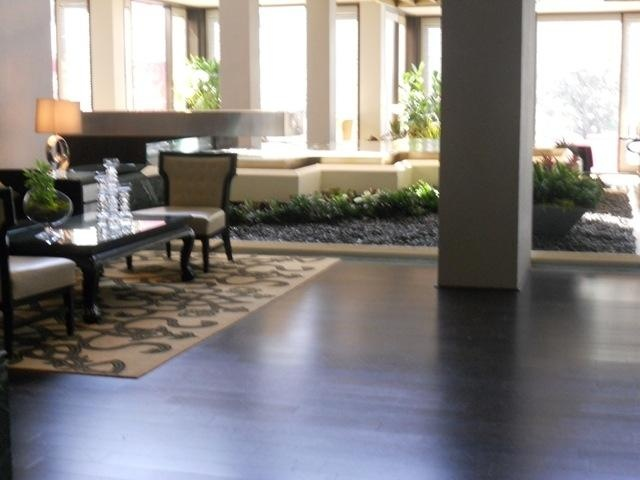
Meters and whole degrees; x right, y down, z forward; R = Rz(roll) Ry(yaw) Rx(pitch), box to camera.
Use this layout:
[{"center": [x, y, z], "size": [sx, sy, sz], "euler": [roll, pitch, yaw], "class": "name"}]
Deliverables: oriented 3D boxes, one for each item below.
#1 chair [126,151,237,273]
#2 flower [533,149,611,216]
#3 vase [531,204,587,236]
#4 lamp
[{"center": [-1.387, -0.337, 5.011], "size": [1.080, 1.085, 1.010], "euler": [-1, 10, -18], "class": "chair"}, {"center": [3.016, -0.768, 6.028], "size": [0.661, 0.541, 0.815], "euler": [2, 6, -28], "class": "flower"}, {"center": [2.769, -0.231, 5.822], "size": [0.408, 0.271, 0.500], "euler": [3, 3, 42], "class": "vase"}, {"center": [-3.093, -1.250, 5.951], "size": [0.483, 0.868, 1.307], "euler": [-5, 10, -28], "class": "lamp"}]
